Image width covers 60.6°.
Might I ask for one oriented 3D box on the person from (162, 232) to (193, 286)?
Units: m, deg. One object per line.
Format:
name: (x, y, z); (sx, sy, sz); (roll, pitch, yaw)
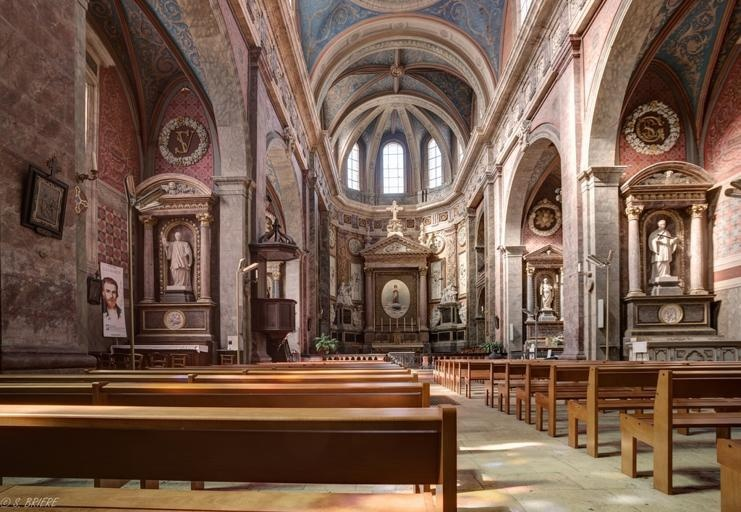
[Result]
person: (-4.345, 0.097, 14.207); (0.742, 1.369, 0.227); (-4, -9, 23)

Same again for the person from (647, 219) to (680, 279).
person: (6.314, -0.085, 13.584); (0.603, 1.280, 0.360); (1, -8, -8)
